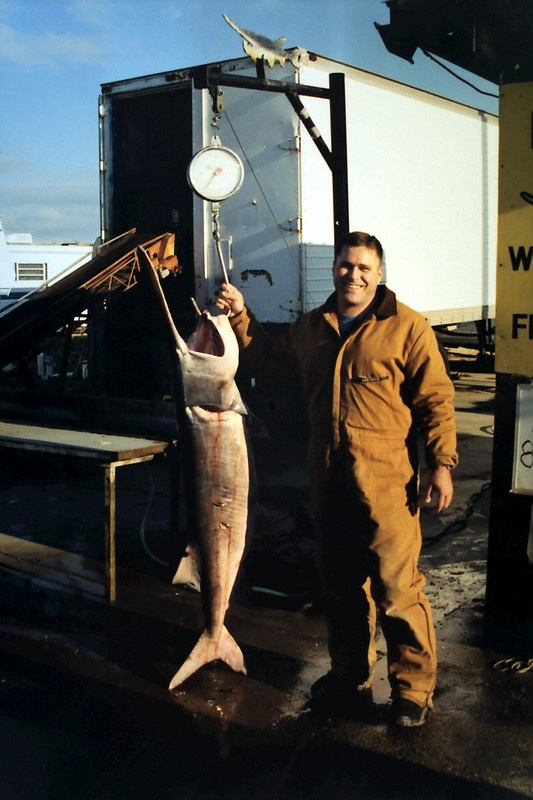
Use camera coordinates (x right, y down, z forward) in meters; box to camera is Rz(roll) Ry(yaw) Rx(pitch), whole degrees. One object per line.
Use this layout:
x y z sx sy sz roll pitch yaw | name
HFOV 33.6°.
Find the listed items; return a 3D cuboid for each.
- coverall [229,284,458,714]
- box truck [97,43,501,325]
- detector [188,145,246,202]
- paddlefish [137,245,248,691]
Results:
0.353 0.367 3.550 0.368 1.636 0.855 -9 13 -42 | coverall
0.685 -2.035 9.380 2.439 2.770 4.799 3 5 42 | box truck
-0.226 -0.975 3.813 0.231 0.244 0.153 -2 10 -5 | detector
-0.202 0.309 3.446 0.381 1.774 0.677 0 3 1 | paddlefish
